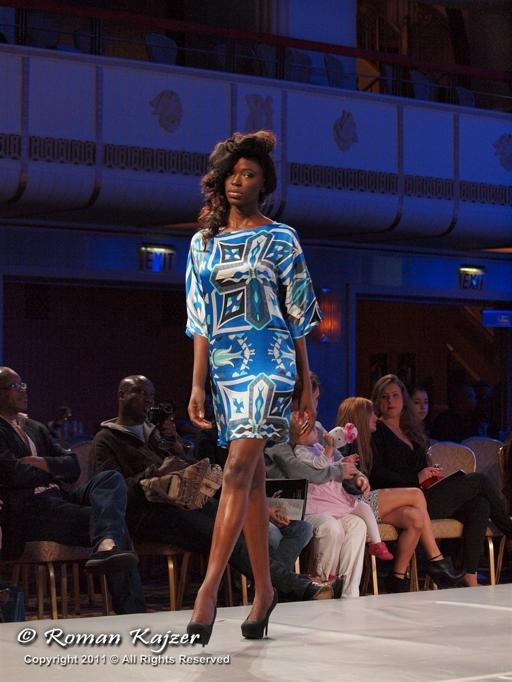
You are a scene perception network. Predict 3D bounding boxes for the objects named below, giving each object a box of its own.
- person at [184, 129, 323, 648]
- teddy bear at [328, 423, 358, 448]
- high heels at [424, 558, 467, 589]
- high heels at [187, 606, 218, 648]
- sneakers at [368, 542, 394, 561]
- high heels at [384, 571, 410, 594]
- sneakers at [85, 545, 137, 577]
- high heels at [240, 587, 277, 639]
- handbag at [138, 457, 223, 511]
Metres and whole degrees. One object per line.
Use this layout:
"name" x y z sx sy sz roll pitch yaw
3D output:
"person" -0.003 0.121 2.807 0.407 1.483 0.600 1 1 -4
"teddy bear" 0.499 0.536 5.439 0.166 0.099 0.087 -28 3 0
"high heels" 1.024 1.232 5.201 0.187 0.155 0.137 1 1 6
"high heels" -0.143 0.745 2.537 0.076 0.080 0.066 1 1 -12
"sneakers" 0.666 1.123 5.248 0.076 0.069 0.211 -5 4 -39
"high heels" 0.772 1.307 5.265 0.119 0.130 0.271 1 1 6
"sneakers" -0.587 0.890 4.013 0.226 0.071 0.090 -6 -20 8
"high heels" 0.002 0.783 2.793 0.088 0.119 0.147 1 1 12
"handbag" -0.333 0.674 4.528 0.345 0.138 0.260 -17 -18 23
